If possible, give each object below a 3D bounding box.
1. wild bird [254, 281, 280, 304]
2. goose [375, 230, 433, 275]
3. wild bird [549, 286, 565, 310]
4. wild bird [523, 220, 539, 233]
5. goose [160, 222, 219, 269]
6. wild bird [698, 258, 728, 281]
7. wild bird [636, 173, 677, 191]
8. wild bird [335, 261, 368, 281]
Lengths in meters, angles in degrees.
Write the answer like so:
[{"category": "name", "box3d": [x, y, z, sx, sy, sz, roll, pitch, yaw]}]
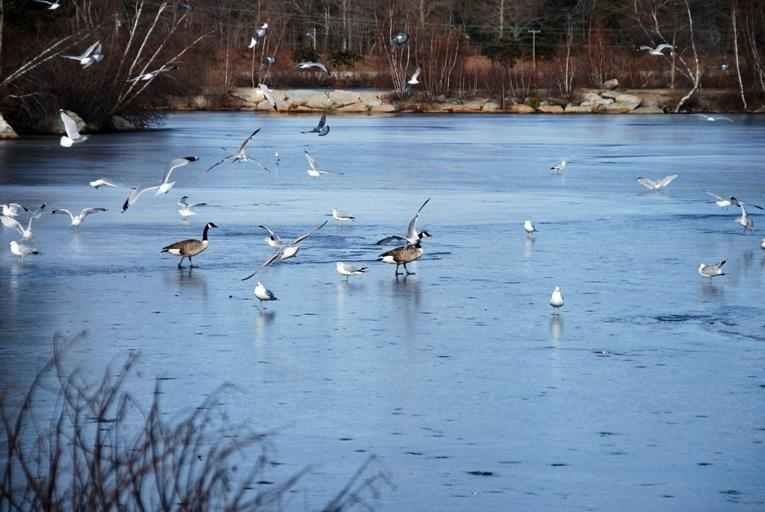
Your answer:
[{"category": "wild bird", "box3d": [-2.029, 0.653, 23.101, 0.281, 0.289, 0.467, -2, 1, 36]}, {"category": "goose", "box3d": [0.339, -0.014, 25.138, 1.101, 0.670, 0.363, -6, 8, -18]}, {"category": "wild bird", "box3d": [2.967, 0.712, 22.720, 0.289, 0.307, 0.410, 0, 34, 5]}, {"category": "wild bird", "box3d": [3.054, -0.584, 28.633, 0.262, 0.267, 0.389, -7, -6, 21]}, {"category": "goose", "box3d": [-3.683, -0.180, 25.380, 1.123, 0.723, 0.380, -5, 4, -18]}, {"category": "wild bird", "box3d": [5.953, 0.289, 24.708, 0.305, 0.433, 0.898, -3, -2, -24]}, {"category": "wild bird", "box3d": [7.134, -1.886, 35.996, 1.125, 0.564, 0.383, -2, -4, -10]}, {"category": "wild bird", "box3d": [-0.464, 0.273, 24.770, 0.789, 0.332, 0.240, -3, 3, -27]}]
